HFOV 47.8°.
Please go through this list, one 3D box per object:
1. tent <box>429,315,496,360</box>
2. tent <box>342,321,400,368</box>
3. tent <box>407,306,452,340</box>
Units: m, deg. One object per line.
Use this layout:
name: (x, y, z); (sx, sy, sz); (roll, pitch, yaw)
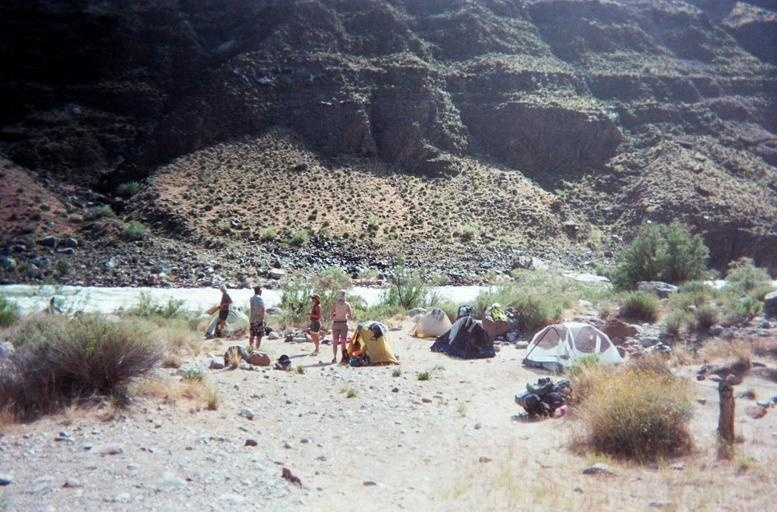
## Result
tent: (5.183, 5.390, 58.658); (3.273, 2.427, 2.621); (2, -1, 20)
tent: (-1.170, 6.007, 57.822); (2.762, 2.299, 2.818); (1, -7, 3)
tent: (2.932, 4.641, 59.587); (1.624, 1.829, 2.508); (1, 3, -16)
